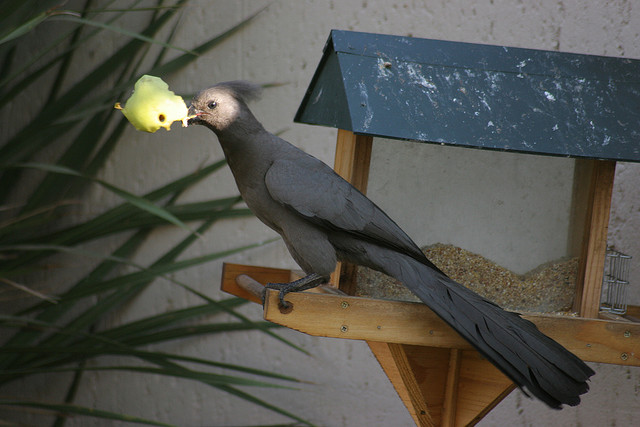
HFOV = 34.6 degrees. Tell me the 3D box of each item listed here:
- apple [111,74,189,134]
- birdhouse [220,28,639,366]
[{"bbox_3d":[-0.707,-0.391,4.034,0.303,0.119,0.303,14,-6,-21],"label":"apple"},{"bbox_3d":[0.464,0.154,4.665,1.874,1.230,1.332,7,5,-15],"label":"birdhouse"}]
